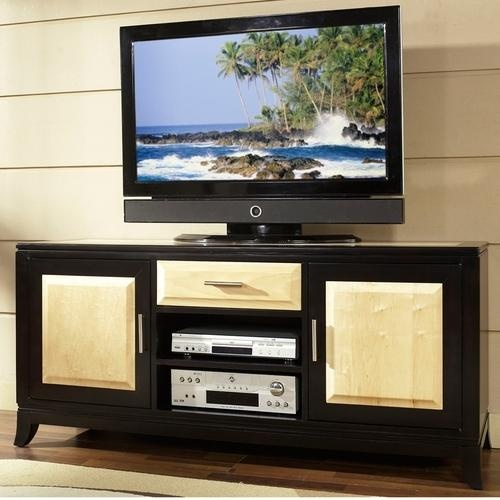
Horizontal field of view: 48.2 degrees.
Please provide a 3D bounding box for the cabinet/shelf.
[{"bbox_3d":[-0.024,0.324,2.011,1.507,0.696,0.403,1,0,10],"label":"cabinet/shelf"}]

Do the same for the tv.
[{"bbox_3d":[0.056,-0.447,2.002,0.874,0.659,0.202,1,4,13],"label":"tv"}]
